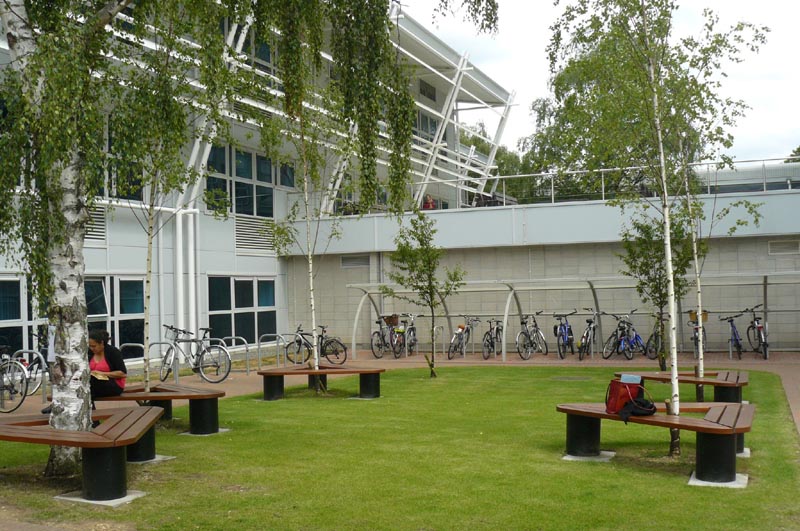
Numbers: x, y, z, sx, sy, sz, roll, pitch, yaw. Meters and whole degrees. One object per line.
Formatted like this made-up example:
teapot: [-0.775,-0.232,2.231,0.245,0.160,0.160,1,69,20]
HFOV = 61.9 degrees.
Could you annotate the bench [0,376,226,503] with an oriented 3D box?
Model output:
bench: [-4.270,2.420,10.009,2.831,1.055,5.076,-1,-6,4]

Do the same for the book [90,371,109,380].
book: [-4.681,1.722,10.430,0.200,0.064,0.110,26,-10,-34]

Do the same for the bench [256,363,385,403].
bench: [-1.809,2.625,15.371,2.496,0.682,3.144,0,-6,-7]

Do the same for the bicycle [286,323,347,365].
bicycle: [-2.948,2.622,22.089,2.478,1.471,1.245,-2,1,15]

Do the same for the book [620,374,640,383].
book: [3.096,1.523,9.019,0.141,0.121,0.142,0,-9,12]

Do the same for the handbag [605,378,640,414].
handbag: [2.857,1.736,8.886,0.419,0.415,0.384,30,-20,-25]
